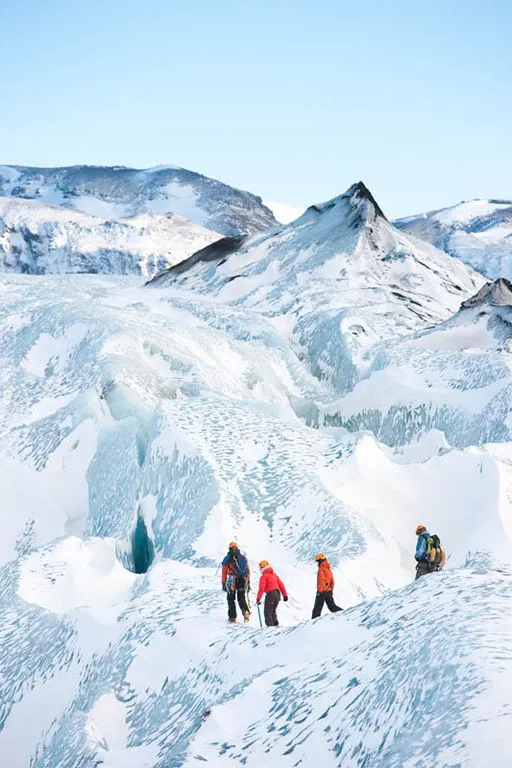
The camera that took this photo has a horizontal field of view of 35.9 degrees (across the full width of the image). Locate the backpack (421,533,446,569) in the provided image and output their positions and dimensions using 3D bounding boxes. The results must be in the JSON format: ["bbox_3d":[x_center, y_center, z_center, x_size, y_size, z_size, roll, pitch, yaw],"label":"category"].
[{"bbox_3d":[2.991,2.770,13.358,0.490,0.807,0.656,0,-9,12],"label":"backpack"}]

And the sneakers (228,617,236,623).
[{"bbox_3d":[-0.352,3.477,11.633,0.101,0.044,0.113,-2,12,-10],"label":"sneakers"}]

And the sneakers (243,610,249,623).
[{"bbox_3d":[-0.150,3.463,11.817,0.101,0.149,0.048,0,-4,3],"label":"sneakers"}]
